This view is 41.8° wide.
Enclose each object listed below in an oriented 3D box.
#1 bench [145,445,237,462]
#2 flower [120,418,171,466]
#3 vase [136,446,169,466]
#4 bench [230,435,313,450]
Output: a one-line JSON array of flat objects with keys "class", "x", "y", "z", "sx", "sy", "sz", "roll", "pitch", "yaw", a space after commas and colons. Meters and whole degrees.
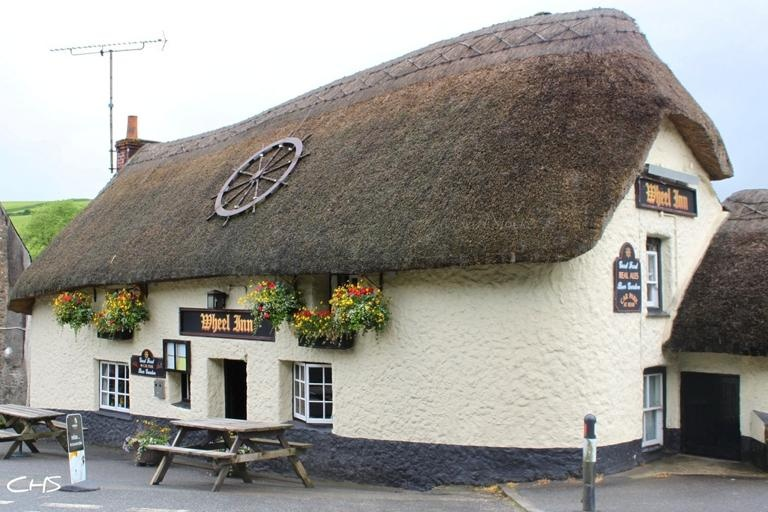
[{"class": "bench", "x": -3.974, "y": 4.024, "z": 20.586, "sx": 2.024, "sy": 0.289, "sz": 0.153, "roll": -2, "pitch": -20, "yaw": 29}, {"class": "flower", "x": -5.342, "y": 4.154, "z": 22.650, "sx": 1.212, "sy": 0.926, "sz": 1.129, "roll": 5, "pitch": 2, "yaw": -12}, {"class": "vase", "x": -5.193, "y": 4.445, "z": 22.168, "sx": 0.835, "sy": 0.481, "sz": 0.748, "roll": 11, "pitch": -12, "yaw": -16}, {"class": "bench", "x": -2.235, "y": 3.826, "z": 20.769, "sx": 2.631, "sy": 0.351, "sz": 0.181, "roll": -3, "pitch": -10, "yaw": 23}]
